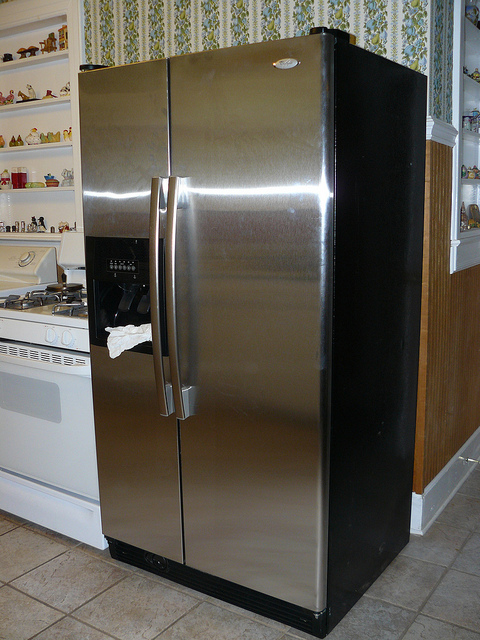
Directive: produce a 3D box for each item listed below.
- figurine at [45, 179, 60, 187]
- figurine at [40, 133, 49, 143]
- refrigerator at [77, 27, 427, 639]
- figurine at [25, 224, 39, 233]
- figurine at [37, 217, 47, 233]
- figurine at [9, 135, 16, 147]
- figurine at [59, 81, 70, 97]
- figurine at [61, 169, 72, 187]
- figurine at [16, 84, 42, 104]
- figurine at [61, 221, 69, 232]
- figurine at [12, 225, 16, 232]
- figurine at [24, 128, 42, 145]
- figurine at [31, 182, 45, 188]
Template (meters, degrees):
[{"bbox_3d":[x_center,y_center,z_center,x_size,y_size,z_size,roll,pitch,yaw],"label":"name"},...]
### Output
[{"bbox_3d":[-1.087,-0.775,3.062,0.051,0.029,0.050,-5,7,-42],"label":"figurine"},{"bbox_3d":[-1.130,-1.041,3.075,0.043,0.070,0.023,7,3,20],"label":"figurine"},{"bbox_3d":[-0.015,0.056,1.617,1.048,1.690,0.655,1,4,17],"label":"refrigerator"},{"bbox_3d":[-1.252,-0.544,3.193,0.054,0.064,0.014,1,-11,12],"label":"figurine"},{"bbox_3d":[-1.183,-0.569,3.170,0.050,0.087,0.075,-1,5,-7],"label":"figurine"},{"bbox_3d":[-1.371,-1.063,3.202,0.032,0.071,0.084,-3,5,-27],"label":"figurine"},{"bbox_3d":[-0.954,-1.248,2.911,0.022,0.092,0.087,16,14,-3],"label":"figurine"},{"bbox_3d":[-0.985,-0.805,3.017,0.050,0.111,0.134,-3,5,-23],"label":"figurine"},{"bbox_3d":[-1.244,-1.295,3.115,0.121,0.137,0.172,-14,21,-41],"label":"figurine"},{"bbox_3d":[-1.011,-0.545,3.079,0.040,0.058,0.092,-3,5,-25],"label":"figurine"},{"bbox_3d":[-1.397,-0.567,3.289,0.022,0.047,0.023,0,0,22],"label":"figurine"},{"bbox_3d":[-1.194,-1.050,3.079,0.083,0.093,0.090,0,0,6],"label":"figurine"},{"bbox_3d":[-1.183,-0.787,3.116,0.081,0.047,0.032,4,-1,1],"label":"figurine"}]
